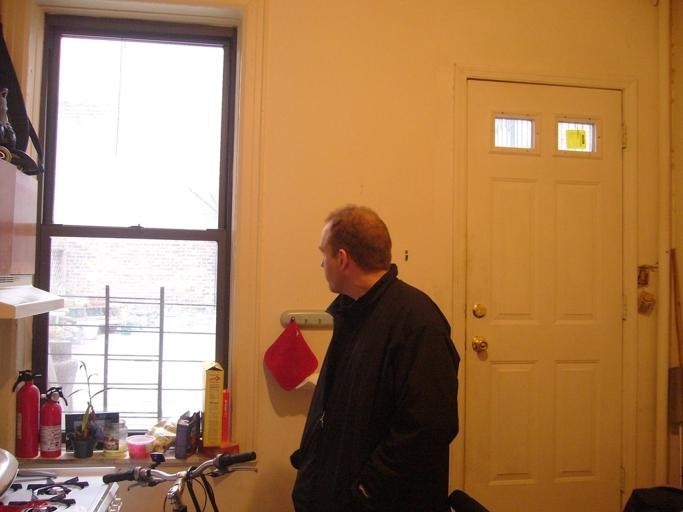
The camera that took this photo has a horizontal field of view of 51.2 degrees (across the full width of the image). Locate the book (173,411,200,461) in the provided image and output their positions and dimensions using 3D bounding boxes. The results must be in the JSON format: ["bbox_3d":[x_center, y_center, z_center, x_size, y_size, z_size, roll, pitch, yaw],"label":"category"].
[{"bbox_3d":[-0.809,0.938,3.746,0.067,0.216,0.203,6,2,12],"label":"book"}]

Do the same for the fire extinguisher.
[{"bbox_3d":[-1.583,0.808,3.672,0.242,0.446,0.199,3,-5,-24],"label":"fire extinguisher"}]
